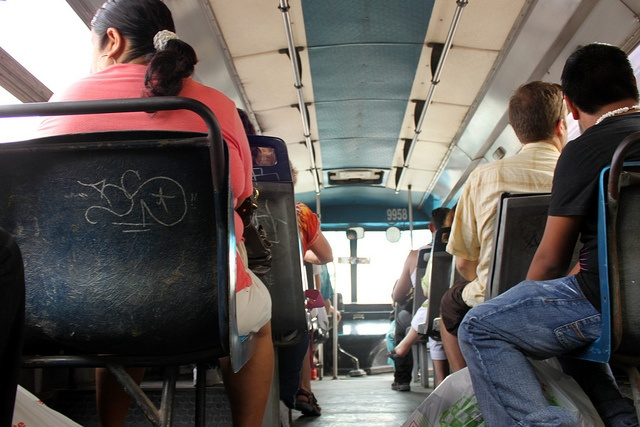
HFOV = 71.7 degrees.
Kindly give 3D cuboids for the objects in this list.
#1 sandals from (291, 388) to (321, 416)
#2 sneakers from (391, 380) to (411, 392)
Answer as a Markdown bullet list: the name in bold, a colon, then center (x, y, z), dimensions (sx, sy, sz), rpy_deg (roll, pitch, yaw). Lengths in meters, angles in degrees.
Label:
- **sandals**: center (-0.100, 1.546, 3.642), dimensions (0.165, 0.166, 0.360), rpy_deg (-12, -44, 19)
- **sneakers**: center (0.910, 1.965, 5.038), dimensions (0.093, 0.094, 0.240), rpy_deg (5, -7, -20)
